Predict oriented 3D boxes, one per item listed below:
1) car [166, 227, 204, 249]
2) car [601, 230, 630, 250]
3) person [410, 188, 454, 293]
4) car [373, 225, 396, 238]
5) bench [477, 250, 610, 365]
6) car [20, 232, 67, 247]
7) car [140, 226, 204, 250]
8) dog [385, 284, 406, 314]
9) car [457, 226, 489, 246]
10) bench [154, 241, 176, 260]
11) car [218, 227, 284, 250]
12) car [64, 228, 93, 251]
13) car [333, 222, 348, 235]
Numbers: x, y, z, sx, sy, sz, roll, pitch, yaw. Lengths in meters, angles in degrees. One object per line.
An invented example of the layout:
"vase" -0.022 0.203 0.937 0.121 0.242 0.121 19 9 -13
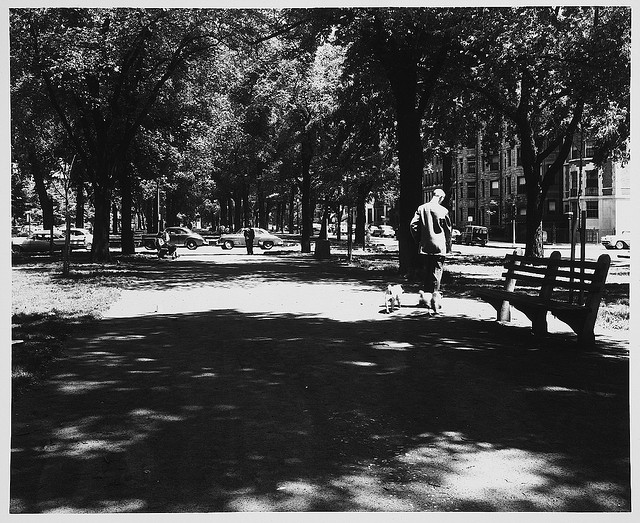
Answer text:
"car" -9.240 -1.628 49.215 2.073 1.165 1.296 -2 9 -10
"car" 24.216 -1.808 58.464 1.923 1.454 4.286 2 4 22
"person" 2.128 -0.407 13.625 0.740 1.974 1.191 1 4 10
"car" 7.715 -3.524 84.868 1.091 0.966 2.398 1 6 -22
"bench" 3.389 0.528 11.204 0.725 1.345 2.991 1 3 -11
"car" -15.704 -1.232 40.668 2.722 0.986 1.462 2 2 -1
"car" -9.955 -1.572 48.770 3.815 1.471 2.688 0 4 -3
"dog" 1.432 0.698 13.870 0.311 0.498 0.924 1 4 6
"car" 13.380 -2.221 61.917 1.232 1.198 2.419 1 6 -10
"bench" -7.488 -0.495 34.781 0.833 0.657 1.585 -1 4 -18
"car" -4.661 -1.853 47.624 3.532 1.453 1.956 2 0 8
"car" -13.457 -1.190 39.873 1.245 1.166 2.206 -1 13 -17
"car" 3.105 -5.034 103.650 2.089 2.259 3.555 0 -2 -4
